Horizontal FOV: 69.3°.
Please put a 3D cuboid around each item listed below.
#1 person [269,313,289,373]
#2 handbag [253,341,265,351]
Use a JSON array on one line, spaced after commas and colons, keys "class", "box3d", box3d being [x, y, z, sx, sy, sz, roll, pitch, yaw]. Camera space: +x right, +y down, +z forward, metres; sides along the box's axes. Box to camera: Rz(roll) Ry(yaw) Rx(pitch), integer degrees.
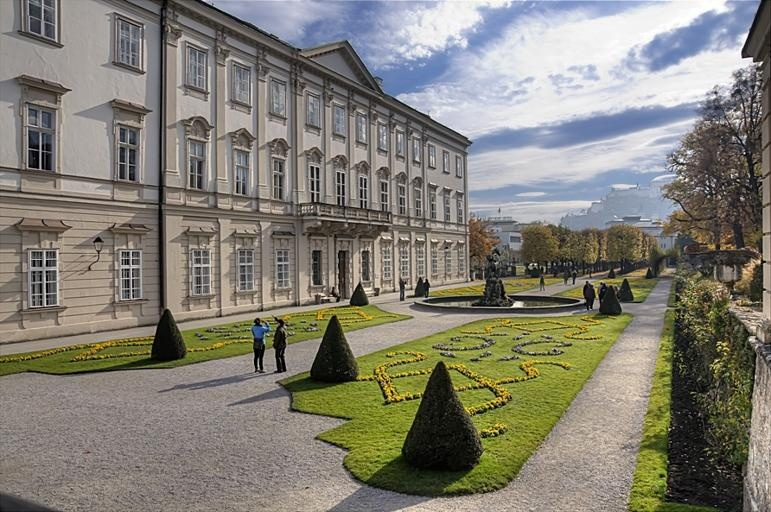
[{"class": "person", "box3d": [-3.982, 3.445, 20.900, 0.453, 1.862, 0.819, -3, 14, -11]}, {"class": "handbag", "box3d": [-4.693, 3.350, 20.823, 0.544, 0.333, 0.293, 3, 6, 9]}]
